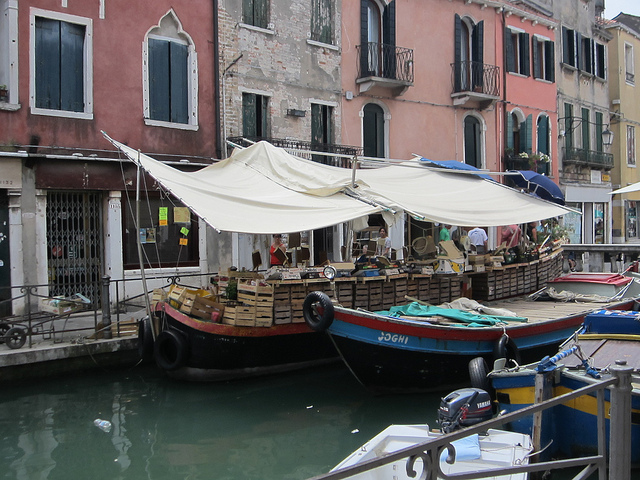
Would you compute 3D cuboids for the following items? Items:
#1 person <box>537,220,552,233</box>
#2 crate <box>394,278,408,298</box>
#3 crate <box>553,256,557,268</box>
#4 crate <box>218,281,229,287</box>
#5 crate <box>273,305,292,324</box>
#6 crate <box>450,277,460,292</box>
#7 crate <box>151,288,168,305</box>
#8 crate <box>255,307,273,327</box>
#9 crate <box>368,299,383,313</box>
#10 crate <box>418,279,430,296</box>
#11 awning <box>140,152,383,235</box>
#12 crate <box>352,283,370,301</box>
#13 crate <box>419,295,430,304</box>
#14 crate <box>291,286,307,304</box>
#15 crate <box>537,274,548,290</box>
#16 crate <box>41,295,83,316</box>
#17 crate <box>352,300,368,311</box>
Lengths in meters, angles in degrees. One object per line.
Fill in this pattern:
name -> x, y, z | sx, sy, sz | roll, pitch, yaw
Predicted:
person -> 8.181, -0.510, 27.764 | 0.497, 0.456, 1.930 | -4, -1, 17
crate -> 1.810, 1.082, 17.034 | 0.341, 0.372, 0.356 | -1, 0, -10
crate -> 6.508, 0.612, 21.091 | 0.053, 0.194, 0.270 | 2, 4, 11
crate -> -2.116, 0.978, 16.766 | 0.124, 0.106, 0.710 | -3, -1, -17
crate -> -0.787, 1.609, 16.260 | 0.352, 0.402, 0.347 | -1, -13, -7
crate -> 3.128, 1.040, 17.716 | 0.297, 0.335, 0.166 | -2, 2, -36
crate -> -3.664, 1.276, 17.081 | 0.331, 0.310, 0.493 | -6, 1, 5
crate -> -1.190, 1.631, 16.158 | 0.337, 0.396, 0.271 | 0, 6, -1
crate -> 1.218, 1.438, 16.740 | 0.326, 0.259, 0.212 | 6, -10, -38
crate -> 2.335, 1.063, 17.278 | 0.328, 0.365, 0.188 | -2, 2, -27
awning -> -1.580, -0.920, 17.125 | 3.792, 2.142, 4.382 | 10, 5, 42
crate -> 0.894, 1.152, 16.725 | 0.412, 0.447, 0.326 | 1, 3, -1
crate -> 2.384, 1.409, 17.322 | 0.236, 0.184, 0.145 | -4, 13, -20
crate -> -0.462, 1.169, 16.277 | 0.311, 0.225, 0.339 | -1, 3, -4
crate -> 5.778, 1.081, 19.855 | 0.255, 0.399, 0.369 | 2, 4, 16
crate -> -5.790, 1.453, 16.881 | 1.010, 0.319, 0.656 | -4, -1, 27
crate -> 0.891, 1.411, 16.589 | 0.293, 0.253, 0.182 | 0, -3, -12
